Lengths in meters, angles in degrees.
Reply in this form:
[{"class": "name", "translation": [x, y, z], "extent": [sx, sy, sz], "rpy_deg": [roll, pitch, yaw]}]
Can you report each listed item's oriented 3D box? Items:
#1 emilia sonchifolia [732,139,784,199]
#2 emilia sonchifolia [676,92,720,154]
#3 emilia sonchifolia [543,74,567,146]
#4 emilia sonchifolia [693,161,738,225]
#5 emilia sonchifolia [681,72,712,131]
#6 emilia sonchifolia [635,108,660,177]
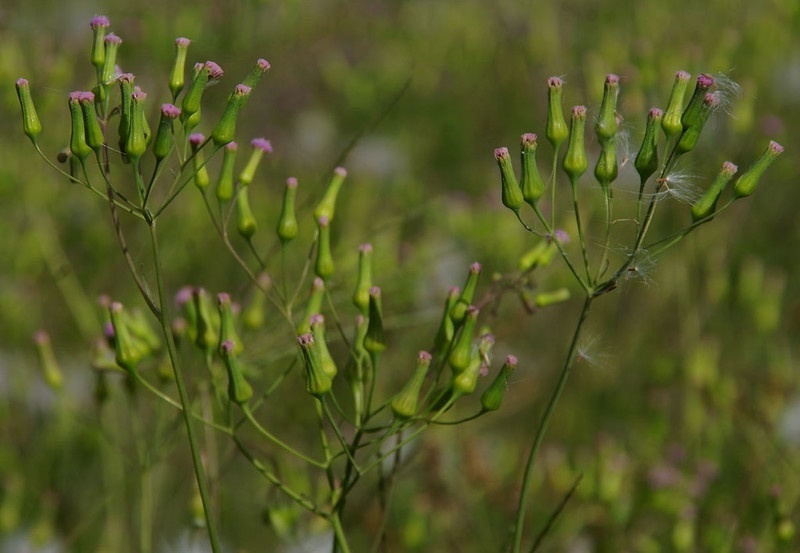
[{"class": "emilia sonchifolia", "translation": [0.551, -0.165, 1.895], "extent": [0.093, 0.088, 0.046], "rpy_deg": [-17, 29, -29]}, {"class": "emilia sonchifolia", "translation": [0.477, -0.251, 1.992], "extent": [0.030, 0.136, 0.032], "rpy_deg": [24, 4, 16]}, {"class": "emilia sonchifolia", "translation": [0.248, -0.277, 1.938], "extent": [0.034, 0.107, 0.162], "rpy_deg": [3, 29, 7]}, {"class": "emilia sonchifolia", "translation": [0.482, -0.137, 1.894], "extent": [0.056, 0.081, 0.119], "rpy_deg": [14, 32, 27]}, {"class": "emilia sonchifolia", "translation": [0.459, -0.272, 1.890], "extent": [0.035, 0.076, 0.078], "rpy_deg": [19, 33, 36]}, {"class": "emilia sonchifolia", "translation": [0.381, -0.195, 1.891], "extent": [0.027, 0.126, 0.035], "rpy_deg": [9, 17, 6]}]
